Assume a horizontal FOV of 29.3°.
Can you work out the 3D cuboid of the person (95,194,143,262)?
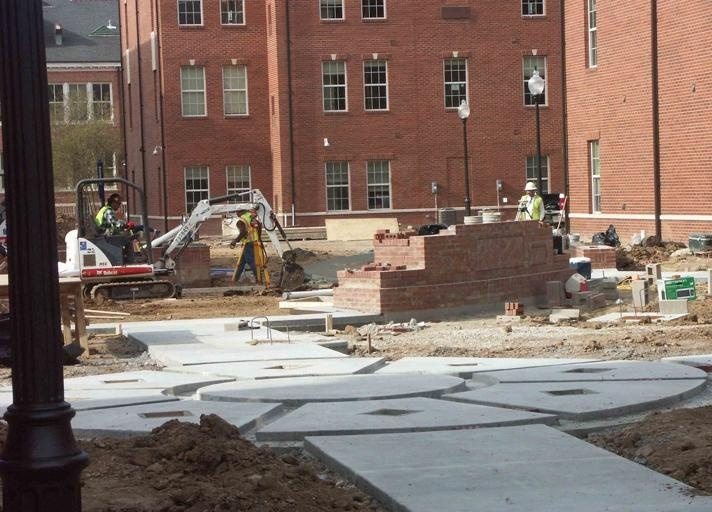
[{"bbox_3d":[-5.485,-0.658,31.198,0.851,1.698,1.114,6,13,17],"label":"person"}]

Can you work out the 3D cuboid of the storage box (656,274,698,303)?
[{"bbox_3d":[6.586,0.624,27.810,0.852,0.533,0.486,-4,6,-16],"label":"storage box"}]

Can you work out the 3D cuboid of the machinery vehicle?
[{"bbox_3d":[-4.245,-0.455,33.056,6.382,2.626,2.086,-3,7,-30],"label":"machinery vehicle"}]

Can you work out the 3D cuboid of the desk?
[{"bbox_3d":[-4.279,0.845,18.774,1.642,1.368,1.157,-1,-1,-35],"label":"desk"}]

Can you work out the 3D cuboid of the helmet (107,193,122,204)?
[{"bbox_3d":[-5.490,-1.307,30.634,0.307,0.260,0.228,11,10,23],"label":"helmet"}]

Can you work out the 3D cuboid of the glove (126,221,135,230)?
[{"bbox_3d":[-5.258,-0.721,31.555,0.374,0.169,0.497,0,6,-6],"label":"glove"}]

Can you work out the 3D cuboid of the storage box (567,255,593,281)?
[{"bbox_3d":[5.374,0.208,32.104,0.733,0.608,0.501,-2,8,-8],"label":"storage box"}]

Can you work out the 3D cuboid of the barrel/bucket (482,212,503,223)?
[{"bbox_3d":[3.044,-0.876,30.243,0.313,0.164,0.305,0,0,0],"label":"barrel/bucket"}]

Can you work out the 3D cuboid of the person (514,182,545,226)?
[{"bbox_3d":[4.212,-1.286,32.356,0.546,0.917,1.107,2,12,0],"label":"person"}]

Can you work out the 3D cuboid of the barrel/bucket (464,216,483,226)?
[{"bbox_3d":[2.658,-0.812,30.467,0.370,0.318,0.369,0,1,0],"label":"barrel/bucket"}]

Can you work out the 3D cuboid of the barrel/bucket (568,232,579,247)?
[{"bbox_3d":[5.915,-0.453,36.542,0.362,0.238,0.341,0,-1,0],"label":"barrel/bucket"}]
